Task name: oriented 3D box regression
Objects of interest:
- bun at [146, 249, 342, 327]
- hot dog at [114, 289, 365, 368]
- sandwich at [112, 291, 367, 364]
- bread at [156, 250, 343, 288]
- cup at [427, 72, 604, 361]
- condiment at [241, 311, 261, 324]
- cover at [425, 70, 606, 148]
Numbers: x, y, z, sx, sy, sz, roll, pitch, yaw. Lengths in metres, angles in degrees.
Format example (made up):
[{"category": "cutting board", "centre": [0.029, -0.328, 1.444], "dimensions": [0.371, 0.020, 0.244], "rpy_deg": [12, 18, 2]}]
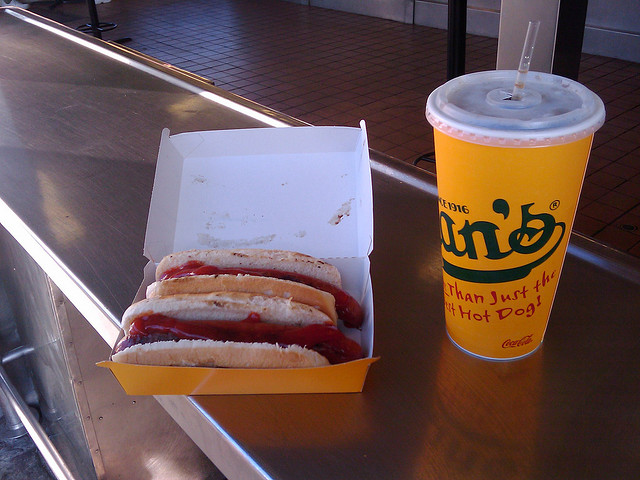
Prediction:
[{"category": "bun", "centre": [-0.101, 0.073, 0.744], "dimensions": [0.264, 0.063, 0.106], "rpy_deg": [-16, 78, -30]}, {"category": "hot dog", "centre": [-0.095, 0.119, 0.683], "dimensions": [0.297, 0.064, 0.107], "rpy_deg": [1, 50, -1]}, {"category": "sandwich", "centre": [-0.069, 0.126, 0.715], "dimensions": [0.385, 0.075, 0.099], "rpy_deg": [1, 55, -2]}, {"category": "bread", "centre": [-0.117, 0.049, 0.787], "dimensions": [0.268, 0.053, 0.059], "rpy_deg": [0, 44, 2]}, {"category": "cup", "centre": [0.237, -0.026, 0.672], "dimensions": [0.175, 0.361, 0.167], "rpy_deg": [-4, 32, 2]}, {"category": "condiment", "centre": [-0.092, 0.100, 0.682], "dimensions": [0.024, 0.014, 0.008], "rpy_deg": [-11, 47, 2]}, {"category": "cover", "centre": [0.224, -0.167, 0.612], "dimensions": [0.189, 0.025, 0.163], "rpy_deg": [-10, 38, -10]}]
